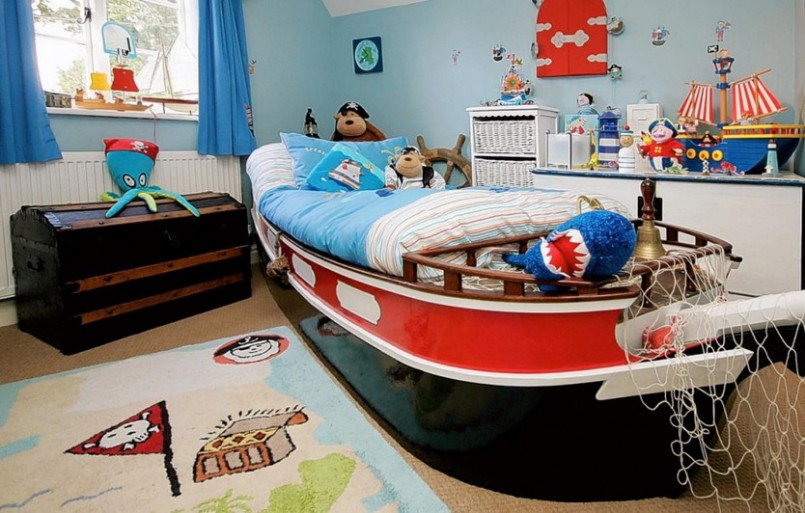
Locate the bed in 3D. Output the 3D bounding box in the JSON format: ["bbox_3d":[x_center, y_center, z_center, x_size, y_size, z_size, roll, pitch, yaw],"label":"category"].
[{"bbox_3d":[0.117,0.225,2.329,0.977,0.579,2.019,-13,19,-29],"label":"bed"}]

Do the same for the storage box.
[{"bbox_3d":[-1.712,0.020,3.328,0.738,0.757,1.224,8,15,34],"label":"storage box"}]

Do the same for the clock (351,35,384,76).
[{"bbox_3d":[-0.306,-1.773,4.495,0.341,0.325,0.055,-13,16,34],"label":"clock"}]

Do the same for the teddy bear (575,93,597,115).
[{"bbox_3d":[1.307,-1.096,3.630,0.084,0.146,0.156,-12,12,-20],"label":"teddy bear"}]

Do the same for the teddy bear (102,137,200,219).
[{"bbox_3d":[-1.676,-0.527,3.327,0.449,0.405,0.597,-6,23,-40],"label":"teddy bear"}]

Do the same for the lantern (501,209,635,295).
[{"bbox_3d":[0.544,-0.010,1.677,0.375,0.227,0.220,0,0,29],"label":"lantern"}]

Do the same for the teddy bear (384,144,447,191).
[{"bbox_3d":[0.062,-0.496,3.064,0.294,0.369,0.134,-4,6,6],"label":"teddy bear"}]
